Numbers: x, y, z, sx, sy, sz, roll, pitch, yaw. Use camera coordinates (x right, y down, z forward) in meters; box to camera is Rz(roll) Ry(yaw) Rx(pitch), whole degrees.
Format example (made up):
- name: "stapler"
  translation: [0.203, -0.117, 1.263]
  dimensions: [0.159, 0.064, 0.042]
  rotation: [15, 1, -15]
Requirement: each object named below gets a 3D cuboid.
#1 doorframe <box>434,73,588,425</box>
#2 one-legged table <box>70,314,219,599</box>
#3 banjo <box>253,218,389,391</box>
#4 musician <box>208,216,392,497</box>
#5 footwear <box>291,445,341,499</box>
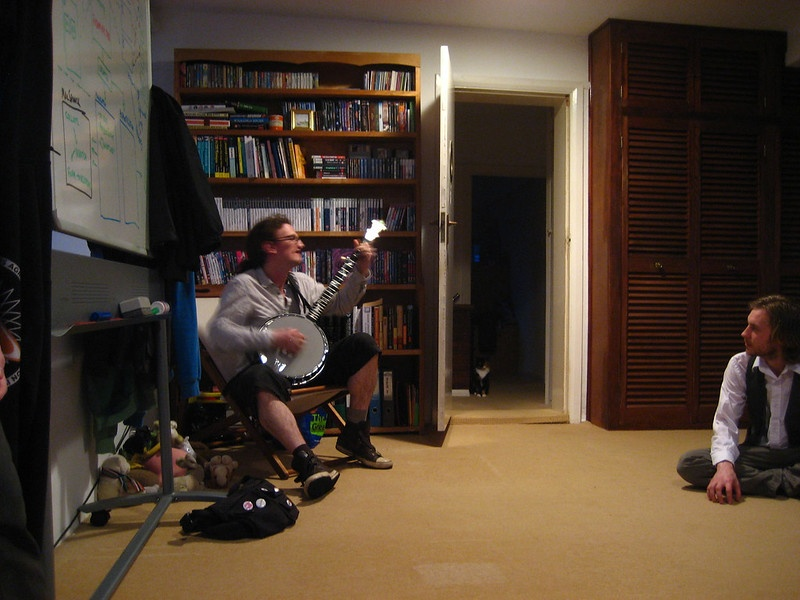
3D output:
- name: "doorframe"
  translation: [0.987, -0.347, 4.876]
  dimensions: [0.705, 2.304, 0.495]
  rotation: [2, 7, 15]
- name: "one-legged table"
  translation: [-1.051, 0.525, 2.956]
  dimensions: [0.618, 1.018, 0.870]
  rotation: [-3, 8, -26]
- name: "banjo"
  translation: [-0.355, -0.014, 3.715]
  dimensions: [0.327, 0.901, 0.114]
  rotation: [36, -39, -11]
- name: "musician"
  translation: [-0.538, 0.230, 3.595]
  dimensions: [0.987, 1.345, 1.167]
  rotation: [-3, 1, -12]
- name: "footwear"
  translation: [-0.397, 0.817, 3.344]
  dimensions: [0.234, 0.232, 0.172]
  rotation: [-3, 8, -22]
